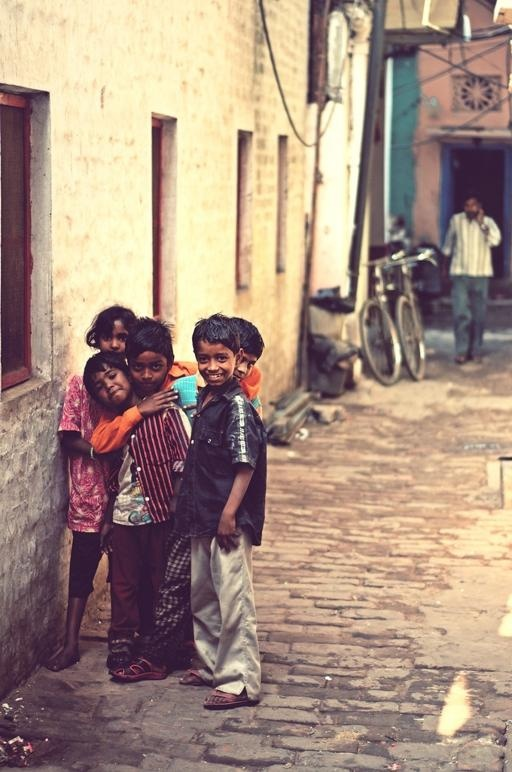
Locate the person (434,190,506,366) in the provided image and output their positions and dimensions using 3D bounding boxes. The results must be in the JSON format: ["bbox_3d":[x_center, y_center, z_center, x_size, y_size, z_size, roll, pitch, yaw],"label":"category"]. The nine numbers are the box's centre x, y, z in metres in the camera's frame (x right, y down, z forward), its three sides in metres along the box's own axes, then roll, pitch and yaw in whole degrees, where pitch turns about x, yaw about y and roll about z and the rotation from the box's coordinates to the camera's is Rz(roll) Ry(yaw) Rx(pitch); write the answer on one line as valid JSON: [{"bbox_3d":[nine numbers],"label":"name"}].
[{"bbox_3d":[2.684,-1.304,11.537,0.673,2.027,0.762,1,7,14],"label":"person"}]

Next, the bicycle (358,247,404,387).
[{"bbox_3d":[1.494,-0.784,11.073,0.511,1.453,0.898,0,7,9],"label":"bicycle"}]

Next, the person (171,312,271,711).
[{"bbox_3d":[-0.126,0.437,3.234,0.318,1.360,0.349,-1,7,1],"label":"person"}]
